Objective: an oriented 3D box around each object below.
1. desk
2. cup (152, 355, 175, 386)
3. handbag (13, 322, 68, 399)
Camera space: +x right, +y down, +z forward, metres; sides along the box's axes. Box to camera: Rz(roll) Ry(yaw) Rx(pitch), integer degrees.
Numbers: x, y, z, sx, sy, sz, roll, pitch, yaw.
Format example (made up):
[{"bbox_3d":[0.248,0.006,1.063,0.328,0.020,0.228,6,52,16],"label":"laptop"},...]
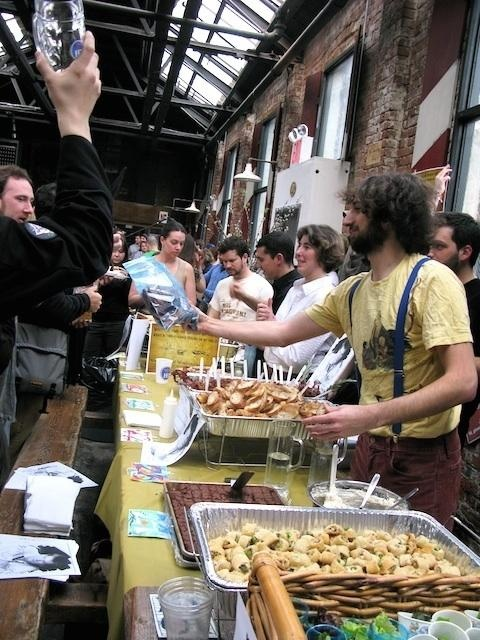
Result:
[{"bbox_3d":[-0.172,0.513,1.298,0.323,0.168,0.846,-1,12,-13],"label":"desk"},{"bbox_3d":[-0.452,0.290,2.804,0.142,0.147,0.137,2,-1,0],"label":"cup"},{"bbox_3d":[-1.060,0.206,2.455,0.332,0.246,0.441,7,46,-23],"label":"handbag"}]
